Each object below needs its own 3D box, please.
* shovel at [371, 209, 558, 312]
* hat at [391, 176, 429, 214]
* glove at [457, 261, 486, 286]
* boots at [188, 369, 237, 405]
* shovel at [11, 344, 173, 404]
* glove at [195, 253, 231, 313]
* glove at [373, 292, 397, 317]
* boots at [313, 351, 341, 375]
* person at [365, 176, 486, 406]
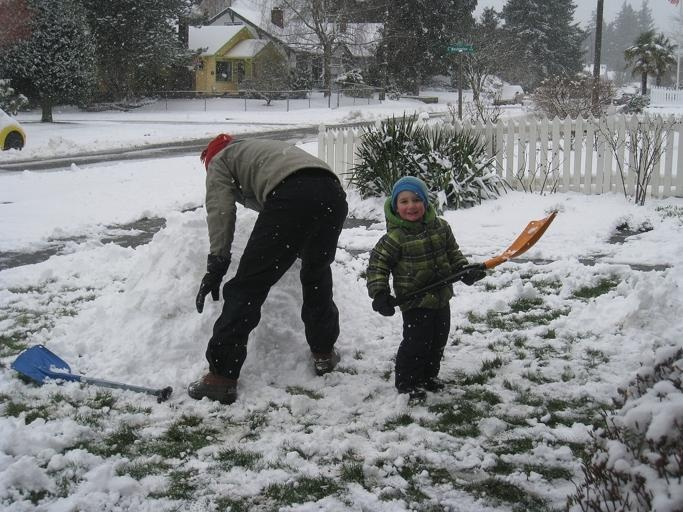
[{"bbox_3d":[1.194,0.078,6.944,1.652,0.304,0.281,-34,10,-19],"label":"shovel"},{"bbox_3d":[0.533,-0.513,5.928,0.228,0.228,0.256,-6,-14,0],"label":"hat"},{"bbox_3d":[1.036,0.165,5.854,0.185,0.064,0.150,-36,53,-1],"label":"glove"},{"bbox_3d":[-1.003,1.037,5.897,0.360,0.196,0.205,11,13,6],"label":"boots"},{"bbox_3d":[-2.123,0.943,6.044,1.252,0.305,0.337,3,10,22],"label":"shovel"},{"bbox_3d":[-1.043,0.242,5.857,0.372,0.425,0.165,-6,-24,27],"label":"glove"},{"bbox_3d":[0.319,0.381,5.767,0.169,0.217,0.235,-3,9,-9],"label":"glove"},{"bbox_3d":[-0.137,0.911,6.338,0.135,0.168,0.206,-3,3,-1],"label":"boots"},{"bbox_3d":[0.669,0.250,5.982,0.829,1.856,0.533,-9,21,-7],"label":"person"}]
